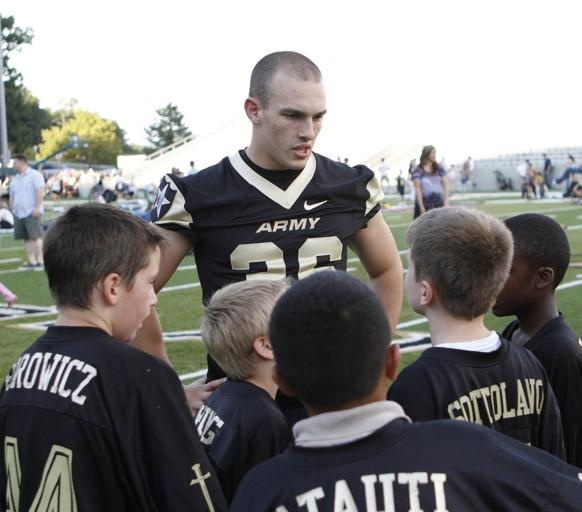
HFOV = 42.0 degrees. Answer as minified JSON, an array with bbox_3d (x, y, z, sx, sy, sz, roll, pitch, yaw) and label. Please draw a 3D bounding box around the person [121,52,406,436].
[{"bbox_3d":[-0.048,-0.246,3.042,1.016,1.111,0.441,-3,4,-2],"label":"person"}]
